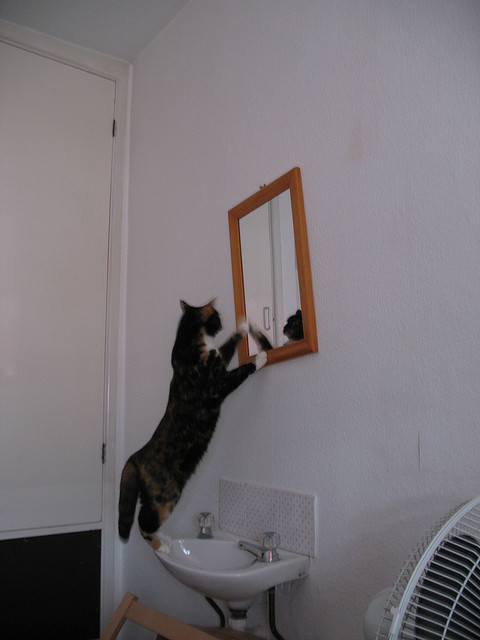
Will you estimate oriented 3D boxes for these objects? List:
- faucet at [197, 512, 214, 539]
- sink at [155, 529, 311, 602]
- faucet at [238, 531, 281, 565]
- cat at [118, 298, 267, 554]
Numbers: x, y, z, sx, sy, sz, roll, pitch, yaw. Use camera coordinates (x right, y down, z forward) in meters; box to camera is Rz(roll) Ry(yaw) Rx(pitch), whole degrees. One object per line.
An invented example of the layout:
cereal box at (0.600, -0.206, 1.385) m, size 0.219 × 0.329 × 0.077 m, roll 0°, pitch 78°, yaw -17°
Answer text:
faucet at (-0.114, 0.683, 1.999) m, size 0.055 × 0.093 × 0.058 m, roll 1°, pitch 0°, yaw -1°
sink at (-0.074, 0.752, 1.798) m, size 0.345 × 0.130 × 0.530 m, roll 5°, pitch -10°, yaw -38°
faucet at (0.062, 0.669, 1.763) m, size 0.053 × 0.068 × 0.149 m, roll 2°, pitch -12°, yaw -22°
cat at (-0.239, 0.408, 2.266) m, size 0.265 × 1.005 × 0.940 m, roll 3°, pitch -7°, yaw -29°
